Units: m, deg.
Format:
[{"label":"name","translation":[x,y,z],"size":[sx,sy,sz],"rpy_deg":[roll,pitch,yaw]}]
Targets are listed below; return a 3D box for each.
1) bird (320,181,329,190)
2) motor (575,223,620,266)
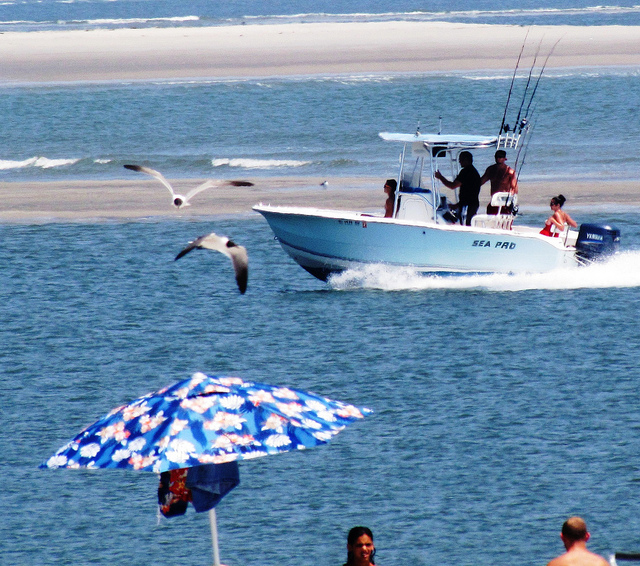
[{"label":"bird","translation":[0.167,-3.977,88.495],"size":[0.347,0.305,0.180],"rpy_deg":[10,51,-10]},{"label":"motor","translation":[9.905,-1.335,76.353],"size":[1.659,2.128,1.530],"rpy_deg":[3,17,9]}]
